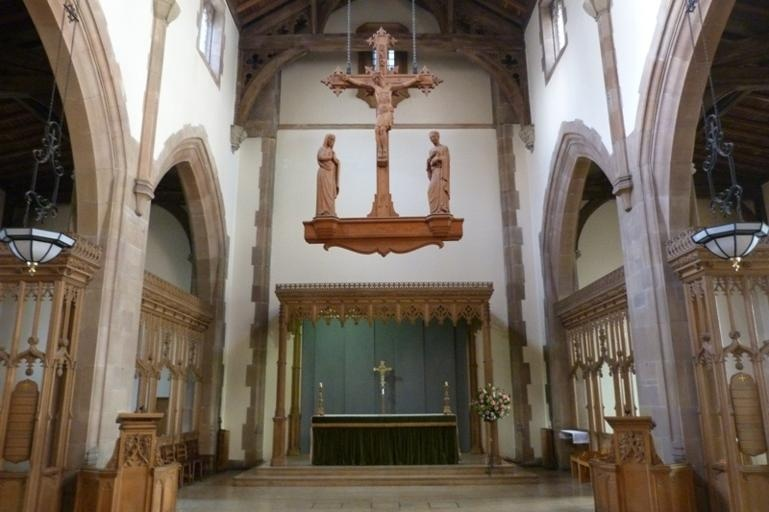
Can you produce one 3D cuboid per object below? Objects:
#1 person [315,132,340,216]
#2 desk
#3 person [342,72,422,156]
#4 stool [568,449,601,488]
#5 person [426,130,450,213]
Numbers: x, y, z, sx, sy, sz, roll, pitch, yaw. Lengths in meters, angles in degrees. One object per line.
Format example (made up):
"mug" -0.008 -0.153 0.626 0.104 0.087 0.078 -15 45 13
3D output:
"person" -0.950 -1.358 10.222 0.338 1.833 0.625 -1 -20 -3
"desk" 0.006 3.796 12.791 3.028 1.055 0.432 -1 -20 -5
"person" -0.047 -2.293 10.086 1.257 1.421 0.333 -1 -20 -4
"stool" 3.955 4.093 12.123 0.505 0.621 1.042 -7 -21 12
"person" 0.881 -1.238 10.113 0.361 1.440 0.528 -6 -20 11
